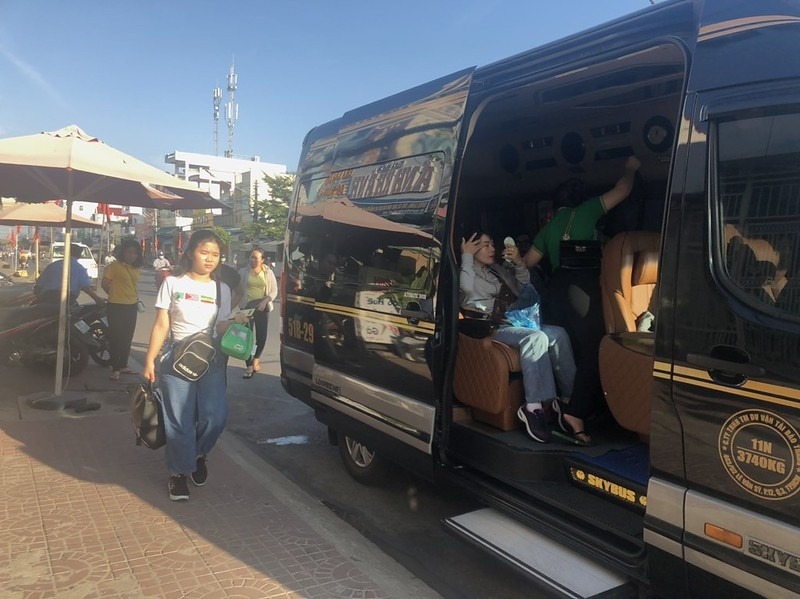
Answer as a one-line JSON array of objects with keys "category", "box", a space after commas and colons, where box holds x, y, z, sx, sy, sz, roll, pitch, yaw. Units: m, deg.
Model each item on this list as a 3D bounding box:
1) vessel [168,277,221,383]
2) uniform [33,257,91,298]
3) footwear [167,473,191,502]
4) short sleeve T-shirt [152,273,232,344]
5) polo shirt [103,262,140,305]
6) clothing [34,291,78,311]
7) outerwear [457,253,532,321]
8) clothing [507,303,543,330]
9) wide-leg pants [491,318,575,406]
[{"category": "vessel", "box": [-1.650, 0.371, 4.270, 0.212, 0.308, 0.543, -19, 46, 7]}, {"category": "uniform", "box": [-5.342, -0.358, 8.329, 0.744, 0.608, 0.408, 12, 5, -21]}, {"category": "footwear", "box": [-1.793, 1.526, 4.248, 0.163, 0.195, 0.240, 2, 5, -23]}, {"category": "short sleeve T-shirt", "box": [-1.701, 0.094, 4.303, 0.524, 0.487, 0.273, 12, -11, -34]}, {"category": "polo shirt", "box": [-4.002, -0.219, 7.504, 0.367, 0.631, 0.659, 7, 8, 39]}, {"category": "clothing", "box": [-5.281, -0.004, 7.993, 0.449, 0.189, 0.328, -5, 12, -33]}, {"category": "outerwear", "box": [0.713, -0.118, 4.251, 0.640, 0.326, 0.399, 12, 21, 31]}, {"category": "clothing", "box": [0.966, 0.144, 4.048, 0.180, 0.144, 0.205, 2, -14, -13]}, {"category": "wide-leg pants", "box": [1.023, 0.415, 4.017, 0.504, 0.605, 0.620, -7, 5, 14]}]
